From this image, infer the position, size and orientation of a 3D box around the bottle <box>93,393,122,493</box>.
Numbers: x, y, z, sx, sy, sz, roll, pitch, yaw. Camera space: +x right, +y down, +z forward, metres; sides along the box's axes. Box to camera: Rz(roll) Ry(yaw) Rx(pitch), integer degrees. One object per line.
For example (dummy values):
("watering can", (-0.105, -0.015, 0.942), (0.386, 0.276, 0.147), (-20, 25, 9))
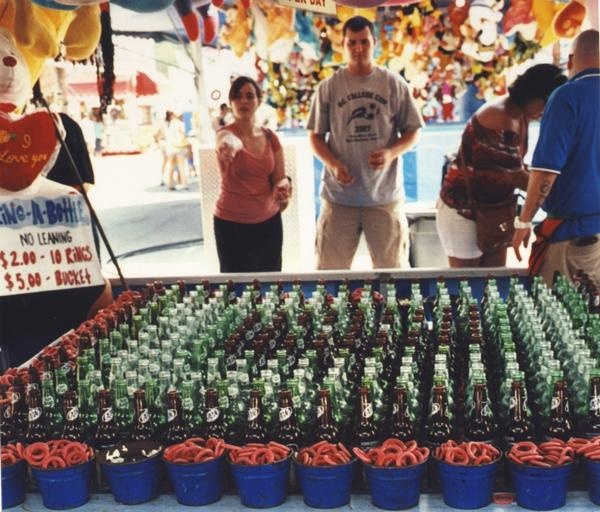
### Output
("bottle", (-0.690, 0.637, 2.734), (0.089, 0.295, 0.324), (-5, 16, -15))

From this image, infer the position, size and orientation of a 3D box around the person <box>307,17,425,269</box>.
("person", (0.420, -0.683, 4.882), (0.739, 1.598, 0.396), (-1, 14, -1))

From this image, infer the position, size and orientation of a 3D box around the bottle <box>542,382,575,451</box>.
("bottle", (0.915, 0.525, 2.693), (0.090, 0.205, 0.153), (4, 15, 18))

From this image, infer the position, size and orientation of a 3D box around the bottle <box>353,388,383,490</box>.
("bottle", (0.237, 0.547, 2.699), (0.096, 0.209, 0.147), (0, 15, 6))

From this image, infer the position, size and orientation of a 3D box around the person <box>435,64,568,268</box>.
("person", (1.281, -0.576, 4.866), (0.809, 1.960, 0.725), (-1, 45, 11))

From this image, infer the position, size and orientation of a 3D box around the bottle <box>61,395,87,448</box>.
("bottle", (-0.825, 0.577, 2.778), (0.077, 0.180, 0.081), (-1, 14, 0))

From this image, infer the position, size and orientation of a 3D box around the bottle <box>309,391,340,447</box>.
("bottle", (0.092, 0.548, 2.706), (0.096, 0.193, 0.135), (0, 15, 3))

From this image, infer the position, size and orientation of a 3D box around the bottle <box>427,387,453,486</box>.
("bottle", (0.484, 0.609, 2.651), (0.089, 0.297, 0.299), (2, 15, 11))

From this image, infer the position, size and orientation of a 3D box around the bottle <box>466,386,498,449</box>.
("bottle", (0.635, 0.539, 2.671), (0.097, 0.195, 0.123), (2, 15, 13))

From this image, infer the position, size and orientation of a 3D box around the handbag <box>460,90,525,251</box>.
("handbag", (1.198, -0.459, 4.723), (0.460, 0.907, 0.692), (1, 5, 14))

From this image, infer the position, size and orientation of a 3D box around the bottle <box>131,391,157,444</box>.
("bottle", (-0.559, 0.564, 2.717), (0.085, 0.185, 0.083), (-1, 14, 0))

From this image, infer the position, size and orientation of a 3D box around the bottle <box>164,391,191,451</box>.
("bottle", (-0.439, 0.572, 2.721), (0.082, 0.185, 0.071), (-5, 15, -14))

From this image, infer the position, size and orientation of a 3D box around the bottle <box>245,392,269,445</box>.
("bottle", (-0.159, 0.553, 2.705), (0.074, 0.203, 0.108), (-3, 15, -9))

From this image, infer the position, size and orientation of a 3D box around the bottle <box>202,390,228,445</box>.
("bottle", (-0.301, 0.556, 2.710), (0.078, 0.193, 0.060), (-3, 14, -10))

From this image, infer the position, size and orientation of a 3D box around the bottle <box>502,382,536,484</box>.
("bottle", (0.772, 0.537, 2.693), (0.099, 0.234, 0.184), (2, 15, 13))

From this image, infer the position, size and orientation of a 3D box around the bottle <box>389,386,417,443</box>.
("bottle", (0.360, 0.537, 2.696), (0.088, 0.204, 0.104), (-4, 15, -11))
